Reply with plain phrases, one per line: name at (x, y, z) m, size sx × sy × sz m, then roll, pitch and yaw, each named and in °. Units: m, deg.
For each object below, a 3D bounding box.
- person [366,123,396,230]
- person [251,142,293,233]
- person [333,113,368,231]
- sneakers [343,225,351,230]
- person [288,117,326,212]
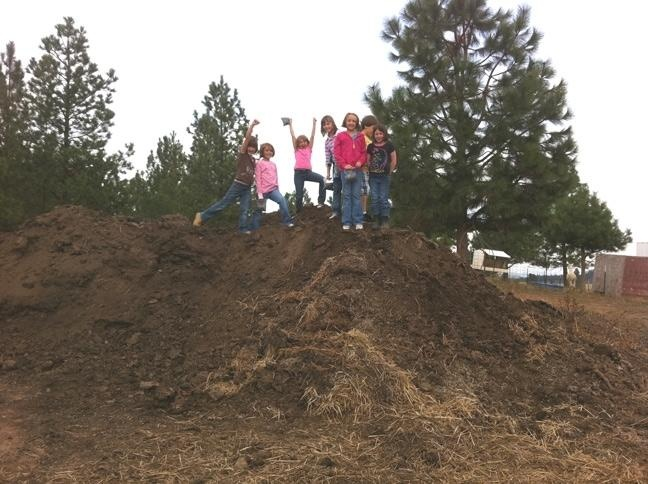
person at (1.069, -1.258, 13.690) m, size 0.538 × 1.377 × 0.445 m, roll 1°, pitch 1°, yaw 3°
person at (-1.115, -1.129, 14.648) m, size 0.915 × 1.767 × 0.788 m, roll 1°, pitch 1°, yaw 16°
person at (0.525, -1.345, 13.611) m, size 0.558 × 1.524 × 0.591 m, roll 1°, pitch 1°, yaw -37°
sneakers at (0.423, -0.278, 13.513) m, size 0.132 × 0.058 × 0.111 m, roll 1°, pitch 0°, yaw 1°
person at (-0.336, -1.627, 15.246) m, size 0.707 × 2.545 × 0.422 m, roll -9°, pitch -29°, yaw 8°
